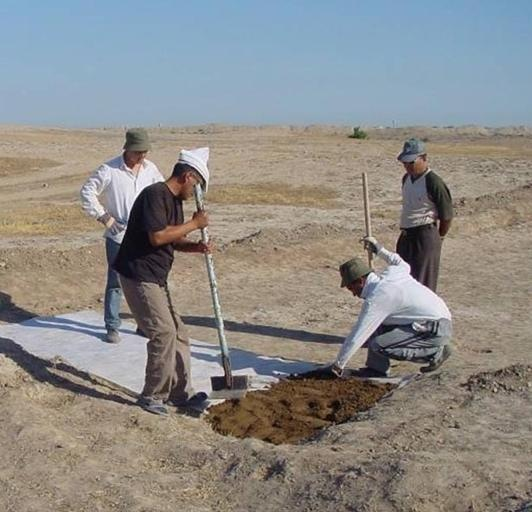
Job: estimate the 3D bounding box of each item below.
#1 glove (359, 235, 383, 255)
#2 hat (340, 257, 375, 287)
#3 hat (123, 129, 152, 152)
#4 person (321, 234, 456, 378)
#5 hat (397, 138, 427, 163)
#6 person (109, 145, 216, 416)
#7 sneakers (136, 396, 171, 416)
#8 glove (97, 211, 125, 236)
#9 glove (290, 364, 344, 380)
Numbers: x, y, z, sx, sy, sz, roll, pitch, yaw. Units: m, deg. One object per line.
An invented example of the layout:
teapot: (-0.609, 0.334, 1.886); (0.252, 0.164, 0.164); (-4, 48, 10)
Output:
glove: (1.035, -0.113, 6.834); (0.180, 0.078, 0.237); (35, -8, -38)
hat: (0.751, 0.144, 5.814); (0.265, 0.258, 0.291); (0, 10, 7)
hat: (-1.241, -1.112, 6.742); (0.261, 0.113, 0.266); (1, 10, -10)
person: (0.916, 0.505, 6.128); (1.286, 1.153, 1.364); (5, 37, 16)
hat: (1.397, -0.987, 6.567); (0.386, 0.158, 0.235); (-13, 18, -39)
person: (-0.717, 0.221, 5.280); (0.596, 2.043, 0.504); (-12, 17, -39)
sneakers: (-0.839, 1.139, 5.358); (0.281, 0.086, 0.102); (13, 2, 25)
glove: (-1.529, -0.317, 6.848); (0.167, 0.262, 0.105); (-45, -4, -15)
glove: (0.491, 1.034, 6.152); (0.304, 0.028, 0.280); (0, 1, -42)
